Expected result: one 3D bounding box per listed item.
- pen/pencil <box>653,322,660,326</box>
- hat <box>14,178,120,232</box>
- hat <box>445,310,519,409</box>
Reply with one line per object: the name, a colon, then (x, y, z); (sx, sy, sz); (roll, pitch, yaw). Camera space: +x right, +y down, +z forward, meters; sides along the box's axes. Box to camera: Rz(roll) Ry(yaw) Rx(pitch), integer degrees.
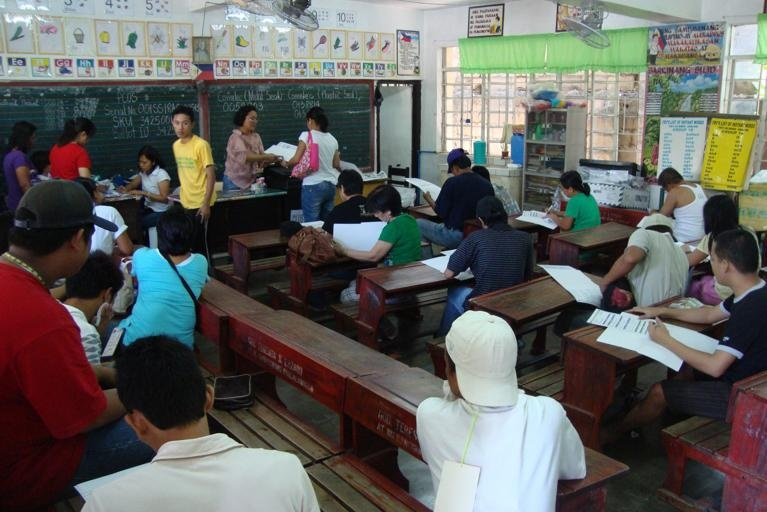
pen/pencil: (1.625, 0.399, 3.021); (0.025, 0.015, 0.015); (-30, -1, -13)
hat: (-1.234, -0.205, 1.973); (0.272, 0.151, 0.185); (-10, 16, -44)
hat: (0.342, 0.352, 1.767); (0.243, 0.292, 0.139); (2, 12, 6)
